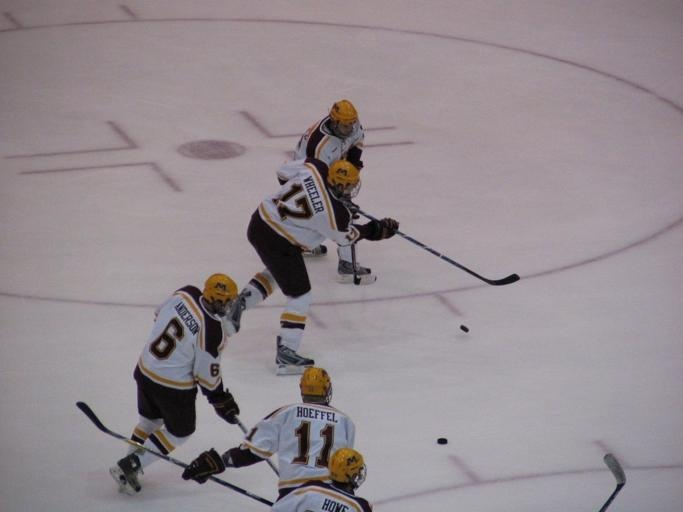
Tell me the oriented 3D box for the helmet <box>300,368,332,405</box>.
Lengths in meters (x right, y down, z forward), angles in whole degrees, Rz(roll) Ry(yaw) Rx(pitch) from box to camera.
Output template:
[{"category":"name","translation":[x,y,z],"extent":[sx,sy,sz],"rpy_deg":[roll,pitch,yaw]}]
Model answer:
[{"category":"helmet","translation":[-0.160,0.826,6.544],"extent":[0.225,0.267,0.207],"rpy_deg":[-1,-89,7]}]

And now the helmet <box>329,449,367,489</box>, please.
[{"category":"helmet","translation":[0.024,1.292,6.146],"extent":[0.259,0.207,0.201],"rpy_deg":[13,-4,-37]}]

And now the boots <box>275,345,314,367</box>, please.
[{"category":"boots","translation":[-0.350,0.746,7.616],"extent":[0.293,0.183,0.150],"rpy_deg":[5,-51,1]}]

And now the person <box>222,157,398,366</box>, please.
[{"category":"person","translation":[-0.221,0.006,8.027],"extent":[1.424,1.010,1.633],"rpy_deg":[12,-57,21]}]

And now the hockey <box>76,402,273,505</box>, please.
[{"category":"hockey","translation":[-1.110,1.343,6.783],"extent":[1.795,0.207,0.174],"rpy_deg":[16,-68,20]}]
